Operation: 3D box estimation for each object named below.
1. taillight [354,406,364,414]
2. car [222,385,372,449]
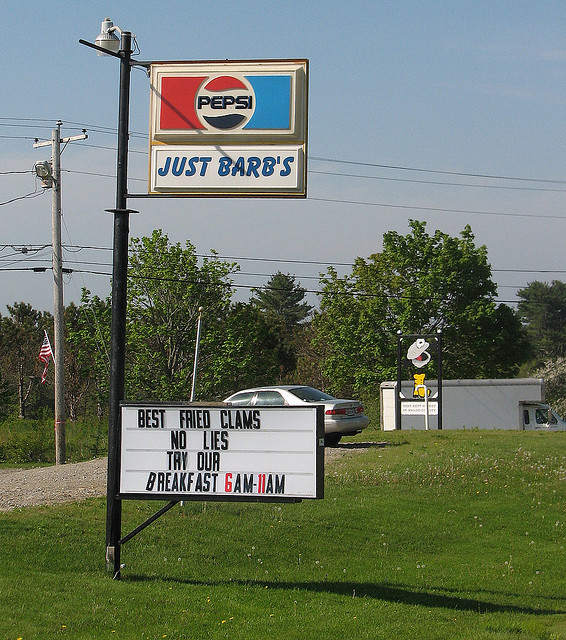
[{"bbox_3d":[1.692,1.949,41.517,0.150,0.165,0.022,2,-10,-17],"label":"taillight"},{"bbox_3d":[0.154,2.065,41.170,2.951,1.169,1.363,-1,-3,20],"label":"car"}]
